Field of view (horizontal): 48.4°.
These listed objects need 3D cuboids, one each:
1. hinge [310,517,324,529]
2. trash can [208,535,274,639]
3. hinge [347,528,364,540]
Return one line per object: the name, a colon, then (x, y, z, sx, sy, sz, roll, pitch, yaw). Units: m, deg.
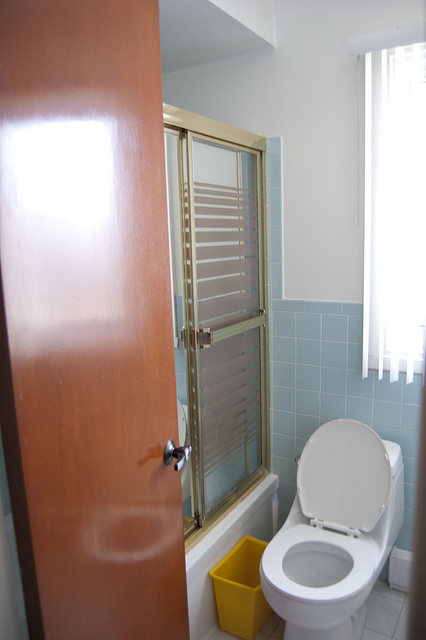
hinge: (0.387, 0.755, 1.764, 0.025, 0.036, 0.016, 18, -14, 22)
trash can: (0.123, 1.017, 1.801, 0.184, 0.413, 0.321, 0, 7, 22)
hinge: (0.504, 0.760, 1.682, 0.050, 0.031, 0.032, -1, 12, 19)
